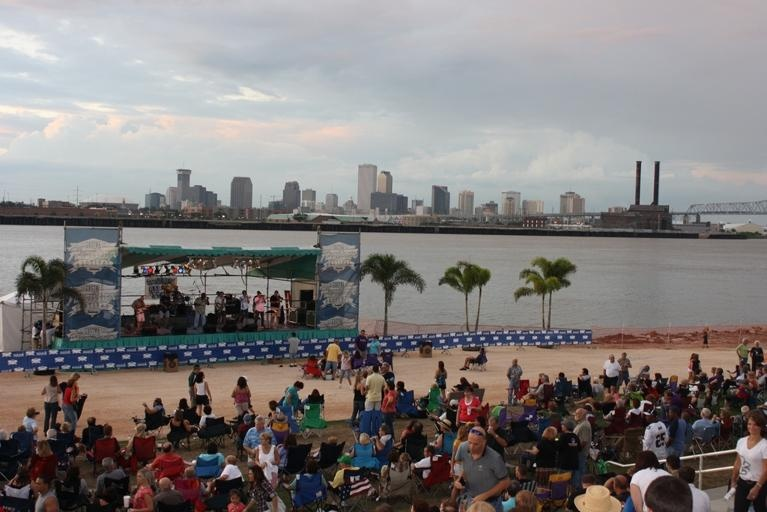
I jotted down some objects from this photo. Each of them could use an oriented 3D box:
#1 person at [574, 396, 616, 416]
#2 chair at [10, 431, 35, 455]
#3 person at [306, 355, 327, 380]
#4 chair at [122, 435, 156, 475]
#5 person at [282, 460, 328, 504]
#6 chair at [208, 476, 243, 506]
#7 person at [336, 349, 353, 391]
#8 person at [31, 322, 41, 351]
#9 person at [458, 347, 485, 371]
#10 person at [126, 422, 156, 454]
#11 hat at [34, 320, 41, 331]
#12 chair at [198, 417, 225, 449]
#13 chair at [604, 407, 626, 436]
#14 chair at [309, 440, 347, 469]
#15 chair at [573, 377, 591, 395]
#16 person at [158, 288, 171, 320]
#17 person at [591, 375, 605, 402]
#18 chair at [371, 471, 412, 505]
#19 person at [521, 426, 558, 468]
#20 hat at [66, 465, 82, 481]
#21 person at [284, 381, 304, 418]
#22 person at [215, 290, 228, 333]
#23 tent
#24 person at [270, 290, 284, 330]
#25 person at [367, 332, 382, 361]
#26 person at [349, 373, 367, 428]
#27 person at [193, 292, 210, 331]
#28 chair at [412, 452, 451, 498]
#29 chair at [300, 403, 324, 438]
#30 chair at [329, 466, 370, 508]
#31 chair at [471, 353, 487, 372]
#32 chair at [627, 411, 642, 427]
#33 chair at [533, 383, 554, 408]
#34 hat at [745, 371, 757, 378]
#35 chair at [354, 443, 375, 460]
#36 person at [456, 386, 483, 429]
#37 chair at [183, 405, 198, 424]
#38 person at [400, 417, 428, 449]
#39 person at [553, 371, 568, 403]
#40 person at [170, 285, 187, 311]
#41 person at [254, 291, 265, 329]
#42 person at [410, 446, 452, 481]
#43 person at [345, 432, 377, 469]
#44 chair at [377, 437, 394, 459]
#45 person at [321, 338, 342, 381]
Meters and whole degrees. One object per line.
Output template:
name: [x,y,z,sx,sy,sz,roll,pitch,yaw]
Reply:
person: [7.010,4.926,32.164,0.526,0.315,1.035,4,-4,-29]
chair: [-10.456,5.426,28.427,0.622,0.779,0.423,-9,2,-14]
person: [-2.629,4.436,38.642,0.842,1.005,0.907,-4,6,-24]
chair: [-7.084,5.761,28.674,0.983,1.342,1.088,0,2,-33]
person: [-2.029,6.287,27.373,1.189,1.362,1.131,0,0,-21]
chair: [-4.372,6.437,26.826,0.849,0.973,0.767,1,1,-31]
person: [-1.453,4.250,37.441,0.507,0.864,0.945,-1,1,-2]
person: [-14.078,3.217,39.863,0.395,0.952,0.366,-2,1,-21]
person: [3.746,4.201,40.686,1.040,0.925,1.205,-1,1,4]
person: [-7.204,5.470,29.355,1.110,1.169,0.810,-1,-2,-5]
hat: [-14.080,2.831,39.969,0.227,0.395,0.389,-1,-5,35]
chair: [-5.267,5.389,30.244,1.013,0.898,0.905,2,-4,-26]
chair: [7.189,5.116,30.221,0.769,0.826,0.506,9,0,-34]
chair: [-1.648,5.622,28.515,0.888,1.212,0.940,0,1,-25]
chair: [7.169,4.612,34.700,0.435,0.727,0.413,-1,1,7]
person: [-9.385,1.991,42.360,0.448,1.054,0.999,-1,1,-14]
person: [7.535,4.684,34.412,0.685,0.882,0.480,-2,-1,-8]
chair: [0.399,6.401,27.812,1.060,1.209,0.911,1,4,-13]
person: [4.411,5.256,27.038,0.894,1.144,0.534,-1,1,10]
hat: [-8.437,5.899,26.822,0.376,0.435,0.454,1,8,-10]
person: [-2.855,4.667,31.602,0.707,1.219,0.624,6,1,-17]
person: [-7.124,2.406,43.033,0.407,1.291,1.537,-1,1,-10]
tent: [-7.211,0.365,43.733,8.096,1.222,5.697,-1,1,-19]
person: [-4.829,2.399,44.441,0.516,1.219,1.243,-1,1,-6]
person: [-0.351,3.766,40.482,0.518,1.584,0.853,-3,5,-17]
person: [-0.764,4.720,32.444,0.585,1.220,1.474,-1,1,-1]
person: [-7.896,2.405,42.565,0.549,1.241,1.238,-1,1,-11]
chair: [1.461,6.222,28.012,1.099,1.215,1.221,2,-2,-23]
chair: [-2.221,5.251,31.717,0.861,1.049,0.985,1,-3,-10]
chair: [-0.881,6.408,27.201,1.139,0.776,0.668,-1,1,-5]
chair: [4.079,4.396,40.735,0.555,0.649,0.610,-1,3,-36]
chair: [7.690,4.992,29.891,0.391,0.463,0.444,2,-13,2]
chair: [5.593,4.817,33.882,0.748,1.061,0.822,-1,7,-4]
hat: [12.770,4.120,34.204,0.329,0.155,0.384,-4,4,-38]
chair: [-0.490,5.521,28.222,0.618,0.692,0.392,1,-1,2]
person: [2.465,4.728,28.628,0.718,1.632,0.544,2,-1,36]
chair: [-6.024,4.970,30.825,0.495,0.483,0.479,-2,7,-35]
person: [0.798,5.125,28.616,0.901,0.837,0.398,17,-12,-16]
person: [6.278,4.625,34.424,0.495,1.018,1.361,-1,1,11]
person: [-8.971,1.880,42.941,0.834,0.994,1.713,-8,10,-13]
person: [-5.537,2.389,44.032,0.473,1.246,1.798,-1,1,-7]
person: [1.429,5.949,27.979,1.028,0.946,0.518,13,20,-1]
person: [-0.594,5.639,28.311,1.083,0.994,0.588,1,5,-3]
chair: [0.067,5.527,28.193,0.332,0.546,0.608,-6,-8,40]
person: [-1.935,4.028,38.520,0.745,1.568,0.535,5,-7,17]
